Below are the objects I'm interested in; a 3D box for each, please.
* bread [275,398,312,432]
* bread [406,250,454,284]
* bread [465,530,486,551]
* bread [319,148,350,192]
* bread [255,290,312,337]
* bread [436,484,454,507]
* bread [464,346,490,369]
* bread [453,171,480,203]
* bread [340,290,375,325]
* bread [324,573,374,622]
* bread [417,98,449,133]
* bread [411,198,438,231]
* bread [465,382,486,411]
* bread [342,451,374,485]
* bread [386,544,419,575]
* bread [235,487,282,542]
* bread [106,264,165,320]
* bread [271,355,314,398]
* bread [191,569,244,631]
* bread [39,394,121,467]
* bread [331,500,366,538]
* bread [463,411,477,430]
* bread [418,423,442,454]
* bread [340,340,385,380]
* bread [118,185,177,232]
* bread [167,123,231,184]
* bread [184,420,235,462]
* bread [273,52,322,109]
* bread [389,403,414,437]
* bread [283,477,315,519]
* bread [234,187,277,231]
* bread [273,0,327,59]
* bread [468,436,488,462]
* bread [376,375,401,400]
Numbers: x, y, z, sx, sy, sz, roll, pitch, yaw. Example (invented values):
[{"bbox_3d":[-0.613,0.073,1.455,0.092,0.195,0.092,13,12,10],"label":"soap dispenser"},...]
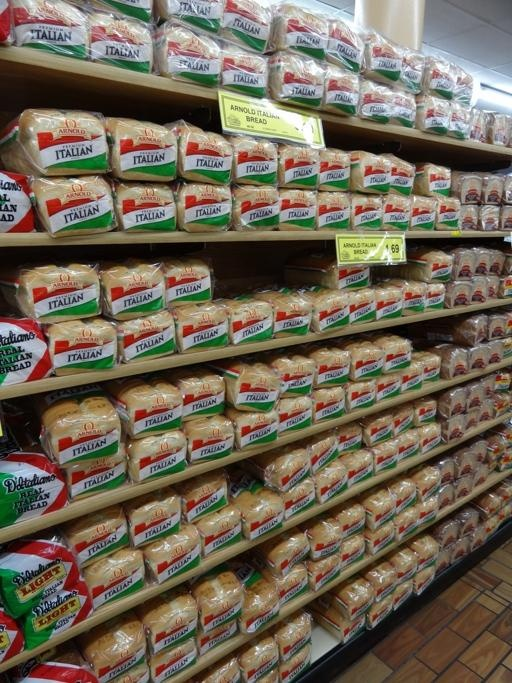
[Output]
[{"bbox_3d":[0.105,0.220,1.680,0.114,0.093,0.110,-7,14,-28],"label":"bread"},{"bbox_3d":[0.698,-0.303,2.132,0.140,0.129,0.187,-13,21,-35],"label":"bread"},{"bbox_3d":[1.082,0.971,2.603,0.125,0.092,0.041,-28,25,-29],"label":"bread"},{"bbox_3d":[0.234,-0.527,1.608,0.048,0.111,0.140,16,16,40],"label":"bread"},{"bbox_3d":[0.078,-0.082,1.637,0.150,0.106,0.147,-13,23,-35],"label":"bread"},{"bbox_3d":[0.871,0.710,2.398,0.043,0.121,0.092,10,6,43],"label":"bread"},{"bbox_3d":[0.967,0.068,2.306,0.088,0.075,0.046,-16,25,-37],"label":"bread"},{"bbox_3d":[0.841,-0.617,2.101,0.149,0.125,0.084,-13,20,-34],"label":"bread"},{"bbox_3d":[0.339,-0.127,1.827,0.119,0.100,0.115,-12,18,-20],"label":"bread"},{"bbox_3d":[0.354,1.010,2.008,0.172,0.082,0.125,-12,24,-42],"label":"bread"},{"bbox_3d":[0.602,-0.782,1.804,0.137,0.117,0.045,-6,15,-34],"label":"bread"},{"bbox_3d":[0.613,-0.472,1.924,0.108,0.094,0.058,-19,28,-36],"label":"bread"},{"bbox_3d":[0.999,0.251,2.398,0.128,0.106,0.042,-12,20,-42],"label":"bread"},{"bbox_3d":[0.366,0.465,1.918,0.072,0.087,0.131,13,20,41],"label":"bread"},{"bbox_3d":[0.608,0.915,2.167,0.094,0.081,0.123,-10,4,11],"label":"bread"},{"bbox_3d":[0.008,0.536,1.660,0.135,0.086,0.132,-20,35,-32],"label":"bread"},{"bbox_3d":[-0.289,-0.119,1.247,0.129,0.116,0.169,-3,17,-10],"label":"bread"},{"bbox_3d":[0.095,0.094,1.673,0.134,0.109,0.131,-15,21,-36],"label":"bread"},{"bbox_3d":[-0.109,0.750,1.556,0.141,0.085,0.136,-6,16,-37],"label":"bread"},{"bbox_3d":[-0.419,0.197,1.237,0.152,0.099,0.154,-9,27,-39],"label":"bread"},{"bbox_3d":[0.339,0.652,1.949,0.112,0.097,0.147,-18,8,-2],"label":"bread"},{"bbox_3d":[0.995,0.360,2.422,0.080,0.092,0.043,0,15,-42],"label":"bread"},{"bbox_3d":[0.730,0.411,2.217,0.122,0.101,0.070,-19,25,-37],"label":"bread"},{"bbox_3d":[0.371,0.072,1.907,0.137,0.114,0.133,-12,22,-24],"label":"bread"},{"bbox_3d":[-0.261,-0.310,1.217,0.119,0.093,0.039,-8,13,-40],"label":"bread"},{"bbox_3d":[-0.146,-0.456,1.282,0.178,0.163,0.063,0,2,-36],"label":"bread"},{"bbox_3d":[-0.136,0.271,1.482,0.127,0.089,0.120,-9,45,-18],"label":"bread"},{"bbox_3d":[0.106,-0.715,1.421,0.153,0.119,0.082,-8,27,-35],"label":"bread"},{"bbox_3d":[0.575,0.316,2.091,0.078,0.091,0.138,12,22,39],"label":"bread"},{"bbox_3d":[0.131,0.509,1.700,0.163,0.108,0.023,-18,22,-41],"label":"bread"},{"bbox_3d":[-0.008,-0.363,1.419,0.118,0.102,0.041,-11,24,-41],"label":"bread"},{"bbox_3d":[0.121,-0.824,1.430,0.162,0.113,0.108,-7,8,-40],"label":"bread"},{"bbox_3d":[1.094,0.540,2.561,0.067,0.062,0.261,-12,5,30],"label":"bread"},{"bbox_3d":[0.487,0.170,1.955,0.099,0.064,0.016,-16,26,-41],"label":"bread"}]
